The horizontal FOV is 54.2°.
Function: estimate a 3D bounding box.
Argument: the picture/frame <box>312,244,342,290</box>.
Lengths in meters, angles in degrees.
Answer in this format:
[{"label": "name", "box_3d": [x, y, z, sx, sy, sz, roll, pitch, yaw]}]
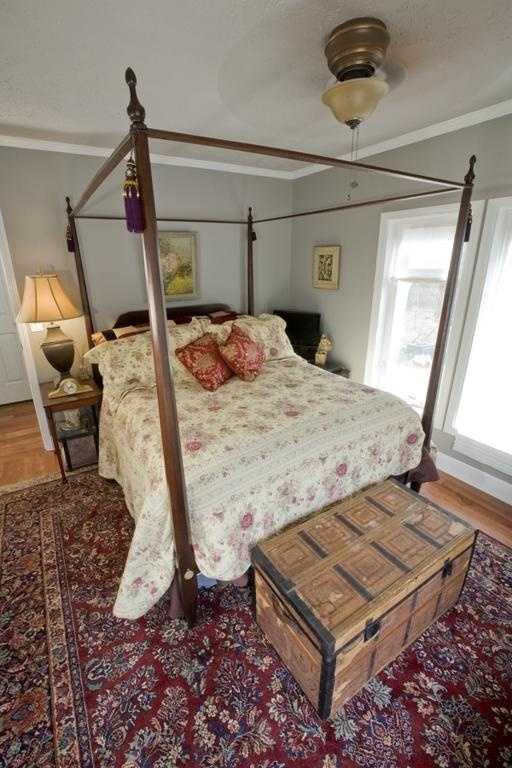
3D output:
[{"label": "picture/frame", "box_3d": [0.598, -0.977, 4.118, 0.024, 0.375, 0.353, -11, 21, -29]}]

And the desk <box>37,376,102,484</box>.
[{"label": "desk", "box_3d": [-1.216, 0.301, 3.325, 0.412, 0.713, 0.562, -12, 26, -28]}]

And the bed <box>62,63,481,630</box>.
[{"label": "bed", "box_3d": [0.080, -0.227, 2.692, 1.814, 2.033, 2.010, -13, 29, -25]}]

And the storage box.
[{"label": "storage box", "box_3d": [0.280, 0.777, 2.082, 0.987, 0.620, 0.510, -21, 11, -36]}]

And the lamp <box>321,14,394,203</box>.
[{"label": "lamp", "box_3d": [0.381, -1.180, 2.138, 0.283, 0.710, 0.284, -1, -9, 6]}]
